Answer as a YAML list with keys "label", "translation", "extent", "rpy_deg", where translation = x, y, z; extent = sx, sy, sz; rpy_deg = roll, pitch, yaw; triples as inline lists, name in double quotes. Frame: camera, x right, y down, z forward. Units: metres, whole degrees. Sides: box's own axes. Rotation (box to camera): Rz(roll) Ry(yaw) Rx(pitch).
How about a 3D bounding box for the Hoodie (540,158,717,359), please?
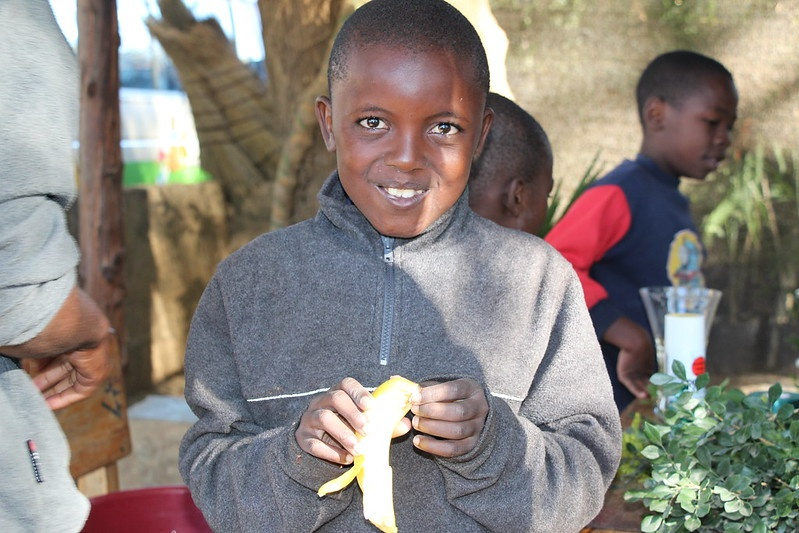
- label: "Hoodie"
  translation: [0.955, -0.028, 4.167]
  extent: [0.339, 0.667, 0.841]
  rpy_deg: [8, 1, 38]
